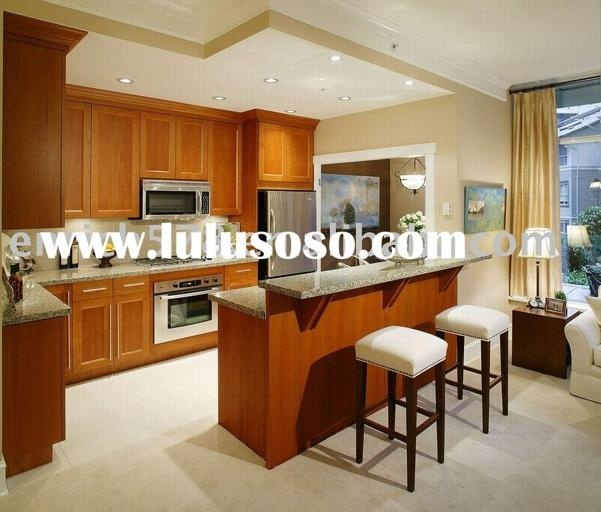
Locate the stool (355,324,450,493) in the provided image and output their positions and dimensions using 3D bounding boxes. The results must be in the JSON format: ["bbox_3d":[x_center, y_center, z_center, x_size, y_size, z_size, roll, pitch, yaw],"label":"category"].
[{"bbox_3d":[0.681,0.932,3.240,0.598,0.836,0.787,5,14,24],"label":"stool"}]

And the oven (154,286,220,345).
[{"bbox_3d":[-1.220,0.512,4.998,0.725,0.548,0.520,-5,20,-33],"label":"oven"}]

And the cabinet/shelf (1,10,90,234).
[{"bbox_3d":[-1.768,-0.893,3.248,0.576,1.389,0.146,-10,15,-37],"label":"cabinet/shelf"}]

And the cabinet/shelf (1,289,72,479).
[{"bbox_3d":[-1.707,0.848,3.072,0.410,1.066,1.021,-2,4,-32],"label":"cabinet/shelf"}]

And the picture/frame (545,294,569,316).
[{"bbox_3d":[2.452,0.425,4.609,0.121,0.225,0.239,-1,3,-34],"label":"picture/frame"}]

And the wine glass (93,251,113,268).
[{"bbox_3d":[-1.914,0.039,4.679,0.147,0.139,0.150,0,-3,-4],"label":"wine glass"}]

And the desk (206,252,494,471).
[{"bbox_3d":[0.716,0.705,3.891,2.164,1.198,0.997,-3,2,-36],"label":"desk"}]

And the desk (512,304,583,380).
[{"bbox_3d":[2.437,0.719,4.771,0.511,0.774,0.717,0,1,32],"label":"desk"}]

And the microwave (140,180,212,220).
[{"bbox_3d":[-1.398,-0.544,5.040,0.378,0.418,0.606,4,5,41],"label":"microwave"}]

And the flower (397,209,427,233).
[{"bbox_3d":[0.913,-0.282,3.935,0.186,0.197,0.220,5,14,24],"label":"flower"}]
